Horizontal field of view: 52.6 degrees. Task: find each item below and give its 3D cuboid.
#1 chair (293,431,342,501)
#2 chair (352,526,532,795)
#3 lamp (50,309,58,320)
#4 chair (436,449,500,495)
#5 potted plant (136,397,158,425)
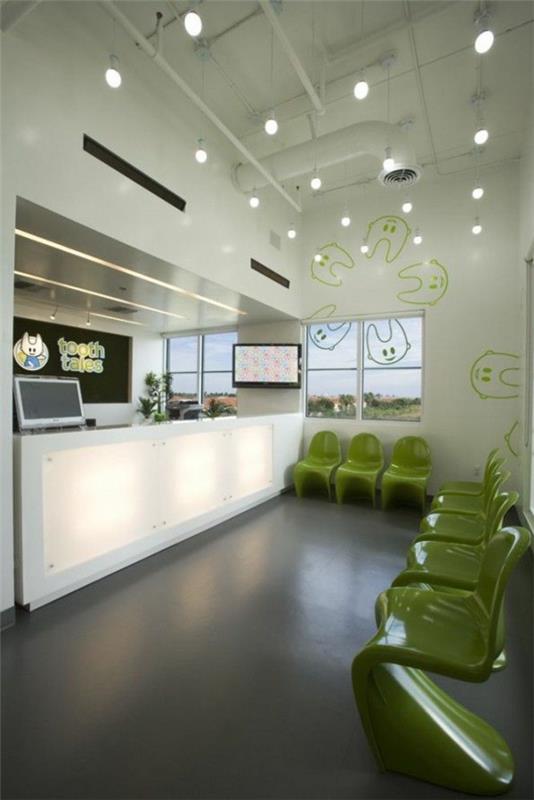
[{"bbox_3d":[0.599,0.746,6.364,0.574,0.989,0.672,2,3,27],"label":"chair"},{"bbox_3d":[0.697,0.964,2.160,0.587,0.977,0.577,4,6,25],"label":"chair"},{"bbox_3d":[-2.804,-1.129,7.090,0.089,0.162,0.141,1,6,-2],"label":"lamp"},{"bbox_3d":[1.705,0.690,4.513,0.455,0.497,0.548,7,2,14],"label":"chair"},{"bbox_3d":[-1.919,0.141,8.720,0.337,0.376,0.429,-3,7,-35],"label":"potted plant"}]
